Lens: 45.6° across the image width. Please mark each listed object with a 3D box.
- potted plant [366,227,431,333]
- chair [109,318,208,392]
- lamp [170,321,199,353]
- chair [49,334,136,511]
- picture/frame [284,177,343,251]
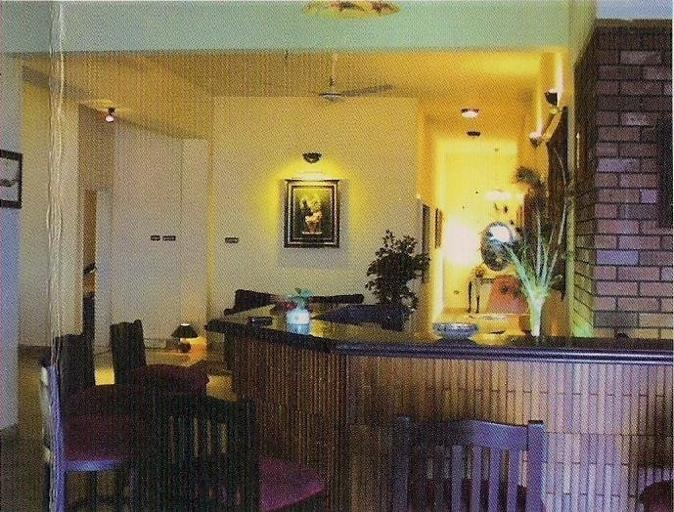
[{"bbox_3d":[0.255,0.107,3.242,0.235,0.401,0.579,1,-1,7],"label":"potted plant"},{"bbox_3d":[-0.711,0.393,3.221,0.328,0.360,0.244,0,2,-6],"label":"chair"},{"bbox_3d":[-0.548,0.313,2.947,0.102,0.115,0.106,6,9,40],"label":"lamp"},{"bbox_3d":[-0.896,0.628,2.924,0.280,0.457,0.347,1,-1,-18],"label":"chair"},{"bbox_3d":[-0.089,-0.164,2.974,0.237,0.302,0.022,1,4,-2],"label":"picture/frame"}]
